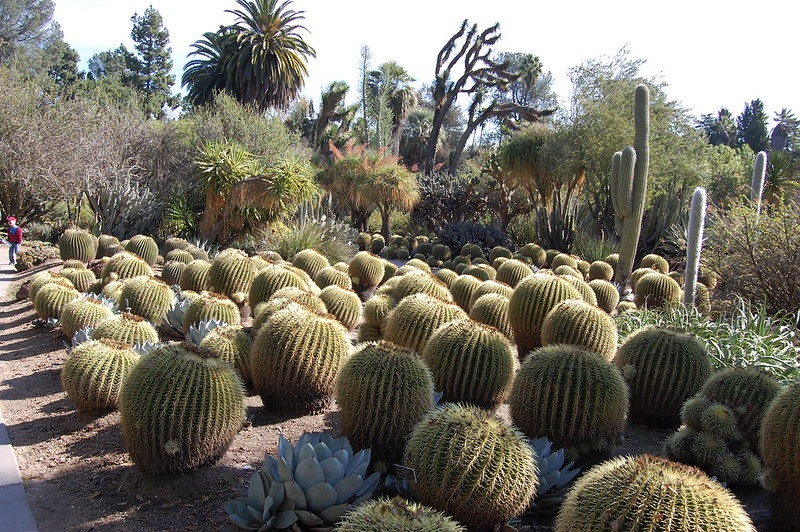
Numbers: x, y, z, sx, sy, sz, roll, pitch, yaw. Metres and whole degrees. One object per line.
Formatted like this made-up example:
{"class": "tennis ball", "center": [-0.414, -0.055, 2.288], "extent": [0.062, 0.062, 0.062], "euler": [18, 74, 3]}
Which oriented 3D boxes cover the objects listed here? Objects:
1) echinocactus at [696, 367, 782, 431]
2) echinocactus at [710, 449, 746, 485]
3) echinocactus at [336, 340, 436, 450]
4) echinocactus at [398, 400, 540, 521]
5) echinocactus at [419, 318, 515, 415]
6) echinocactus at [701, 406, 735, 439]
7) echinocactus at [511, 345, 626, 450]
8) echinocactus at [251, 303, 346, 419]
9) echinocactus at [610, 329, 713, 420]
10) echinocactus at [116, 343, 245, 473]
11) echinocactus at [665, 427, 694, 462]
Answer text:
{"class": "echinocactus", "center": [3.683, 1.351, 6.578], "extent": [0.623, 0.712, 0.657], "euler": [4, 8, 21]}
{"class": "echinocactus", "center": [3.136, 1.928, 5.862], "extent": [0.283, 0.323, 0.304], "euler": [0, 19, 13]}
{"class": "echinocactus", "center": [-0.185, 1.292, 6.501], "extent": [0.912, 1.046, 0.972], "euler": [2, 0, -4]}
{"class": "echinocactus", "center": [0.675, 1.875, 5.907], "extent": [0.970, 1.094, 1.024], "euler": [14, 10, 6]}
{"class": "echinocactus", "center": [0.747, 1.173, 7.074], "extent": [0.904, 1.030, 0.955], "euler": [6, 0, -4]}
{"class": "echinocactus", "center": [3.156, 1.522, 5.924], "extent": [0.373, 0.343, 0.117], "euler": [7, 0, -4]}
{"class": "echinocactus", "center": [1.731, 1.276, 6.409], "extent": [1.014, 1.082, 0.996], "euler": [3, -3, -45]}
{"class": "echinocactus", "center": [-1.173, 1.089, 7.234], "extent": [1.054, 1.203, 1.091], "euler": [2, 1, -10]}
{"class": "echinocactus", "center": [3.179, 1.354, 7.313], "extent": [0.952, 1.070, 1.006], "euler": [2, -8, 24]}
{"class": "echinocactus", "center": [-2.220, 1.407, 6.393], "extent": [1.128, 1.273, 1.155], "euler": [6, 1, 38]}
{"class": "echinocactus", "center": [2.788, 1.761, 6.077], "extent": [0.265, 0.306, 0.283], "euler": [3, 3, 4]}
